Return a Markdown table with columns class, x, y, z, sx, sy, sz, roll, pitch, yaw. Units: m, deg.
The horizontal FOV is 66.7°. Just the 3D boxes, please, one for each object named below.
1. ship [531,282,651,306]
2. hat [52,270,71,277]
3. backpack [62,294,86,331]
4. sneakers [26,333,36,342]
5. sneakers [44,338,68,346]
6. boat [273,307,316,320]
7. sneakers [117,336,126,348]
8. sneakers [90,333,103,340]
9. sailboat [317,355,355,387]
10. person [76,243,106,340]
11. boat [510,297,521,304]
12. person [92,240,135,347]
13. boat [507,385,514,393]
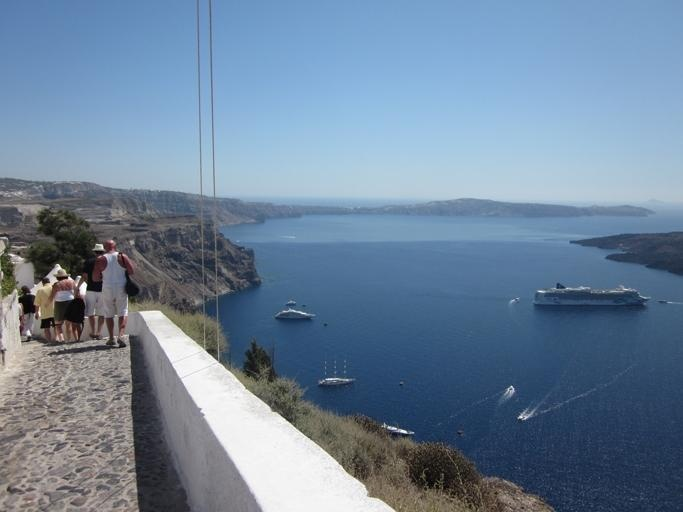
| class | x | y | z | sx | sy | sz | roll | pitch | yaw |
| --- | --- | --- | --- | --- | --- | --- | --- | --- | --- |
| ship | 35.593 | 5.548 | 73.980 | 13.450 | 3.096 | 2.793 | -1 | 3 | 8 |
| hat | -3.958 | 0.253 | 7.324 | 0.139 | 0.059 | 0.160 | 1 | 3 | -7 |
| backpack | -3.616 | 0.751 | 7.014 | 0.286 | 0.367 | 0.155 | 6 | 7 | 5 |
| sneakers | -4.750 | 1.241 | 7.888 | 0.097 | 0.161 | 0.161 | 2 | 1 | -7 |
| sneakers | -3.858 | 1.158 | 7.000 | 0.367 | 0.147 | 0.113 | -4 | -5 | 21 |
| boat | -4.703 | 6.791 | 60.035 | 6.062 | 1.601 | 1.609 | -1 | 7 | 4 |
| sneakers | -2.751 | 1.070 | 6.473 | 0.102 | 0.178 | 0.145 | -2 | 4 | -25 |
| sneakers | -3.255 | 1.057 | 6.846 | 0.206 | 0.087 | 0.070 | -4 | -4 | 38 |
| sailboat | -0.346 | 9.252 | 39.209 | 2.631 | 1.557 | 0.945 | -2 | 5 | -3 |
| person | -3.387 | 0.491 | 7.069 | 0.424 | 1.249 | 0.404 | 0 | 1 | -25 |
| boat | 24.169 | 6.139 | 71.793 | 0.754 | 0.844 | 1.990 | 7 | -9 | -36 |
| person | -2.975 | 0.480 | 6.800 | 0.493 | 1.417 | 0.991 | -1 | 9 | -28 |
| boat | 12.838 | 9.943 | 38.877 | 0.280 | 0.421 | 0.317 | 2 | -11 | 3 |
